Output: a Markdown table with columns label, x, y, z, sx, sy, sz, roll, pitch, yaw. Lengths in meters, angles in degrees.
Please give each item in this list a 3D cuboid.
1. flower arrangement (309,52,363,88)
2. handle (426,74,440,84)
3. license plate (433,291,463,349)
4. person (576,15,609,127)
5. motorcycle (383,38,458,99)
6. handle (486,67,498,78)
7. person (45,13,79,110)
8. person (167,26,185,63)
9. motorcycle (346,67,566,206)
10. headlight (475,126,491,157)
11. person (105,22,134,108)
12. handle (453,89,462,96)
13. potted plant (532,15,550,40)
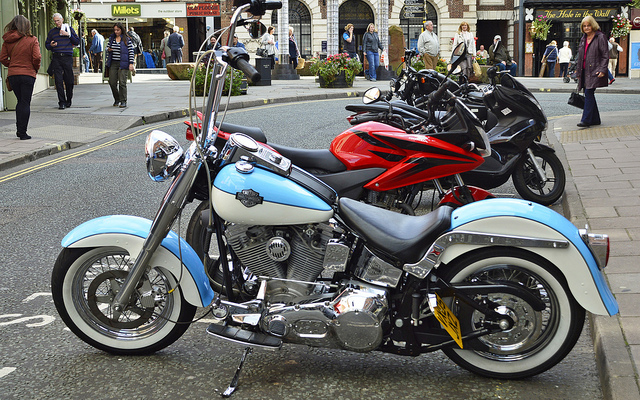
| label | x | y | z | sx | sy | sz | roll | pitch | yaw |
| --- | --- | --- | --- | --- | --- | --- | --- | --- | --- |
| flower arrangement | 0.942 | -5.854 | 23.178 | 2.288 | 1.447 | 2.184 | -8 | 16 | -15 |
| handle | 1.499 | -1.585 | 6.615 | 0.219 | 0.045 | 0.086 | 34 | -13 | 11 |
| license plate | 0.930 | 0.861 | 3.651 | 0.223 | 0.366 | 0.153 | 4 | 18 | 12 |
| person | 6.669 | -3.201 | 12.401 | 0.823 | 2.981 | 0.847 | 1 | 2 | 13 |
| motorcycle | 1.502 | -1.683 | 7.015 | 1.236 | 0.866 | 0.706 | 3 | 23 | 28 |
| handle | 2.590 | -1.894 | 7.588 | 0.181 | 0.194 | 0.149 | 6 | 13 | 11 |
| person | -8.362 | -4.441 | 16.435 | 1.126 | 3.307 | 0.904 | 3 | -3 | -37 |
| person | -9.281 | -9.779 | 32.726 | 0.962 | 2.783 | 0.851 | 3 | 35 | -8 |
| motorcycle | 1.963 | -0.815 | 7.099 | 3.023 | 1.938 | 1.428 | 0 | -9 | -5 |
| headlight | 1.683 | -0.581 | 5.167 | 0.092 | 0.282 | 0.210 | -16 | 32 | 18 |
| person | -6.255 | -4.254 | 16.024 | 0.898 | 2.992 | 1.038 | 3 | -1 | -8 |
| handle | 1.404 | -1.084 | 5.149 | 0.087 | 0.051 | 0.051 | -1 | 1 | -3 |
| potted plant | 17.877 | -13.717 | 40.753 | 1.206 | 1.718 | 0.870 | 9 | 9 | 10 |
